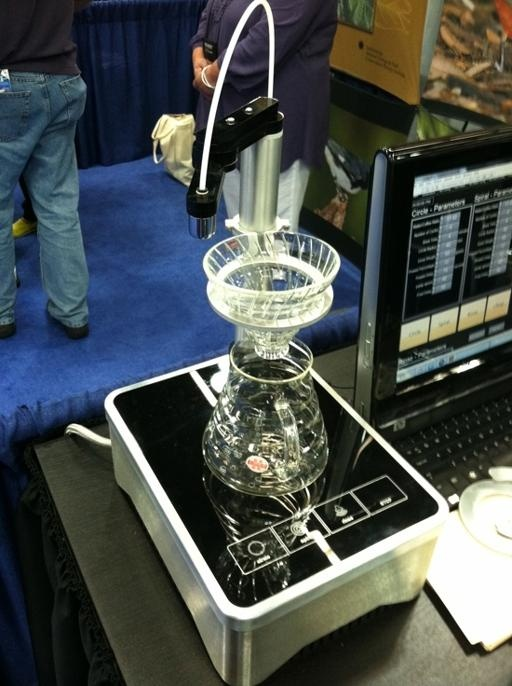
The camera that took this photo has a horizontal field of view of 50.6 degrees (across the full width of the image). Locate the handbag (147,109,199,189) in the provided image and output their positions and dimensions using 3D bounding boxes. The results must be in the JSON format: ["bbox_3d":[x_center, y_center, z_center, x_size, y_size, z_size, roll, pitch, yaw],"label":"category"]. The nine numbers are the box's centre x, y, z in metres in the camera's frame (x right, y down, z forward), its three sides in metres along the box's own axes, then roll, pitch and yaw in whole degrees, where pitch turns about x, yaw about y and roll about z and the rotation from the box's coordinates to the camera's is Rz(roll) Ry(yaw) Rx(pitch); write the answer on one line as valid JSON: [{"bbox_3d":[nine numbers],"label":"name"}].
[{"bbox_3d":[-0.388,-0.938,2.617,0.211,0.288,0.289,-13,33,-32],"label":"handbag"}]

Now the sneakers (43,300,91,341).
[{"bbox_3d":[-0.604,-0.085,1.729,0.073,0.089,0.220,-25,49,-32],"label":"sneakers"}]
